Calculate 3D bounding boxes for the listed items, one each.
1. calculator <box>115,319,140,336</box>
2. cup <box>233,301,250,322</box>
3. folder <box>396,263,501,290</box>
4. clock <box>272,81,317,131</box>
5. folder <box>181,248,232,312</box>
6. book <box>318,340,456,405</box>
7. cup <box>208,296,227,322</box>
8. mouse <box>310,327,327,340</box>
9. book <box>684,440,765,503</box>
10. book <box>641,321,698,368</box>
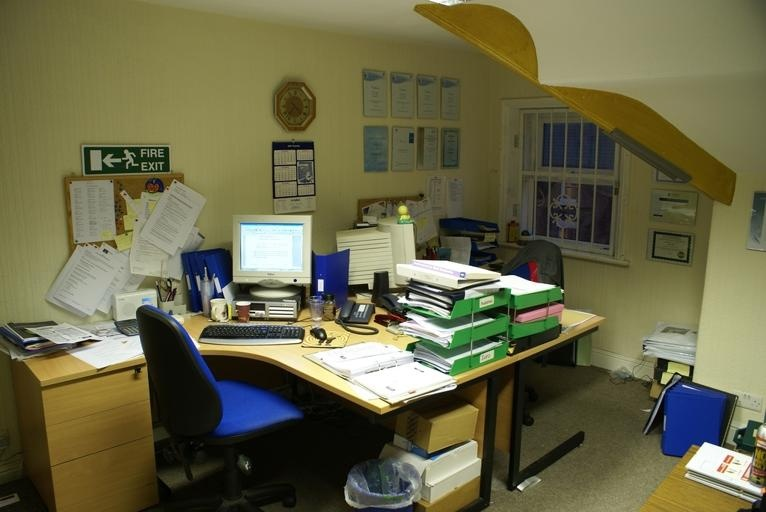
[{"bbox_3d":[-1.550,0.432,3.337,0.173,0.023,0.167,-6,23,-39],"label":"calculator"},{"bbox_3d":[-0.871,0.346,3.469,0.114,0.115,0.116,1,9,0],"label":"cup"},{"bbox_3d":[0.355,0.088,2.960,0.444,0.124,0.344,4,10,38],"label":"folder"},{"bbox_3d":[-0.658,-1.087,3.960,0.394,0.370,0.050,-5,13,-42],"label":"clock"},{"bbox_3d":[-1.163,0.162,3.587,0.222,0.350,0.378,-1,10,17],"label":"folder"},{"bbox_3d":[0.007,0.580,2.773,0.287,0.050,0.397,-6,17,-42],"label":"book"},{"bbox_3d":[-1.023,0.344,3.432,0.095,0.126,0.147,3,8,13],"label":"cup"},{"bbox_3d":[-0.375,0.446,3.170,0.055,0.032,0.092,-13,29,-33],"label":"mouse"},{"bbox_3d":[1.575,1.000,2.539,0.198,0.046,0.208,7,14,42],"label":"book"},{"bbox_3d":[2.152,0.655,4.112,0.366,0.104,0.369,5,10,32],"label":"book"}]
